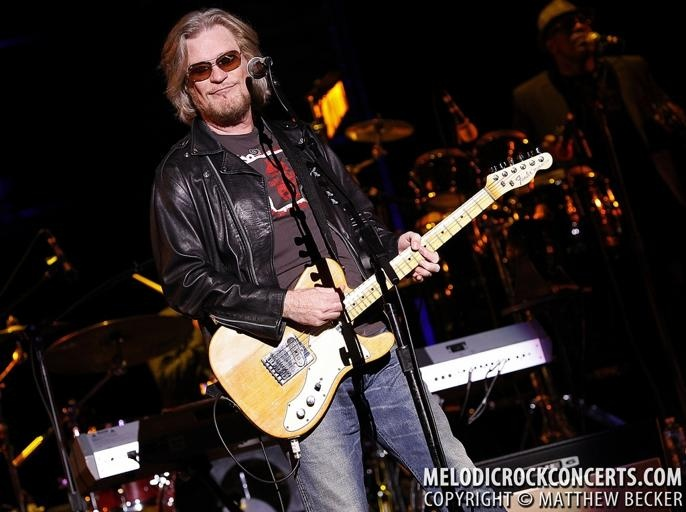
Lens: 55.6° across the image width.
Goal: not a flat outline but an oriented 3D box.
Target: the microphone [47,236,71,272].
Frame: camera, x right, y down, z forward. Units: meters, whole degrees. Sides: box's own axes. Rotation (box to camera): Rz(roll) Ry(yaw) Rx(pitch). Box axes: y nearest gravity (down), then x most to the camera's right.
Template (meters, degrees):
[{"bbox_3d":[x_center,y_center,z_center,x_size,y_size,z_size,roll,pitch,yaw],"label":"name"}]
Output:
[{"bbox_3d":[-2.185,-0.022,4.975,0.083,0.282,0.140,-36,-12,28],"label":"microphone"}]

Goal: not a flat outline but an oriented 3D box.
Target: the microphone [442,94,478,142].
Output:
[{"bbox_3d":[1.116,-1.273,6.181,0.214,0.608,0.124,-35,-25,23],"label":"microphone"}]
